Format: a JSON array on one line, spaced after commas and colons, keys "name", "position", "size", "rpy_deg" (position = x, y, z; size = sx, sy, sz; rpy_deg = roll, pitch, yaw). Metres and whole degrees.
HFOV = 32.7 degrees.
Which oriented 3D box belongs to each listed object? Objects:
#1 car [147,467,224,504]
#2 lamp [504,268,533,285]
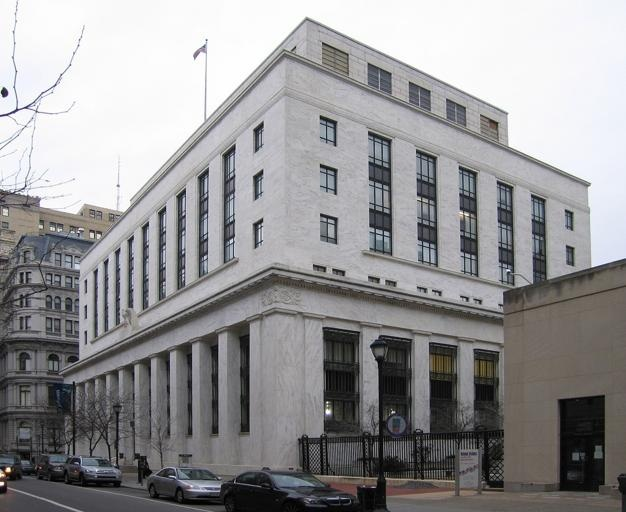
[{"name": "car", "position": [-6.917, 12.711, 59.355], "size": [2.202, 2.285, 5.265], "rpy_deg": [15, -26, -37]}, {"name": "lamp", "position": [17.777, 1.678, 91.413], "size": [1.548, 1.215, 2.925], "rpy_deg": [-18, -27, 39]}]
